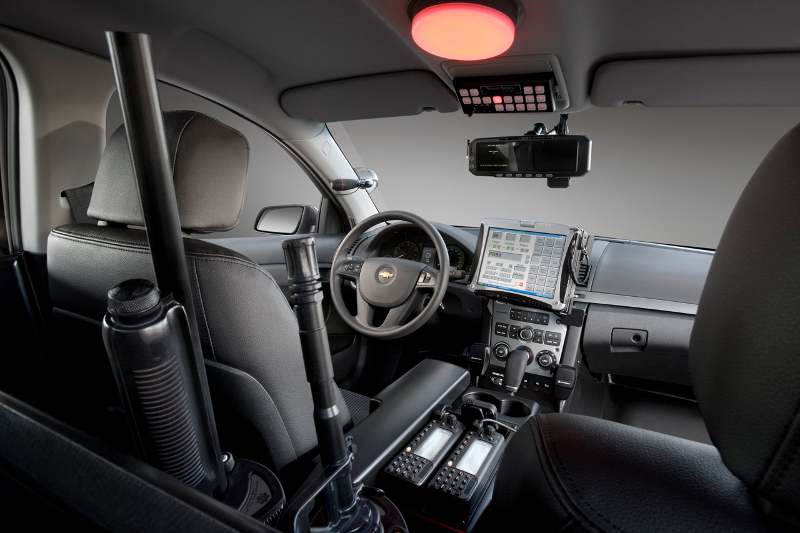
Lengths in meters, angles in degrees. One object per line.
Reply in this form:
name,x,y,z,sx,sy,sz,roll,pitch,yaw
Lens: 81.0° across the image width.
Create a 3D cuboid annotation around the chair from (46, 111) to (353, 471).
chair,-0.590,0.135,1.750,0.741,1.216,0.953,8,12,25
